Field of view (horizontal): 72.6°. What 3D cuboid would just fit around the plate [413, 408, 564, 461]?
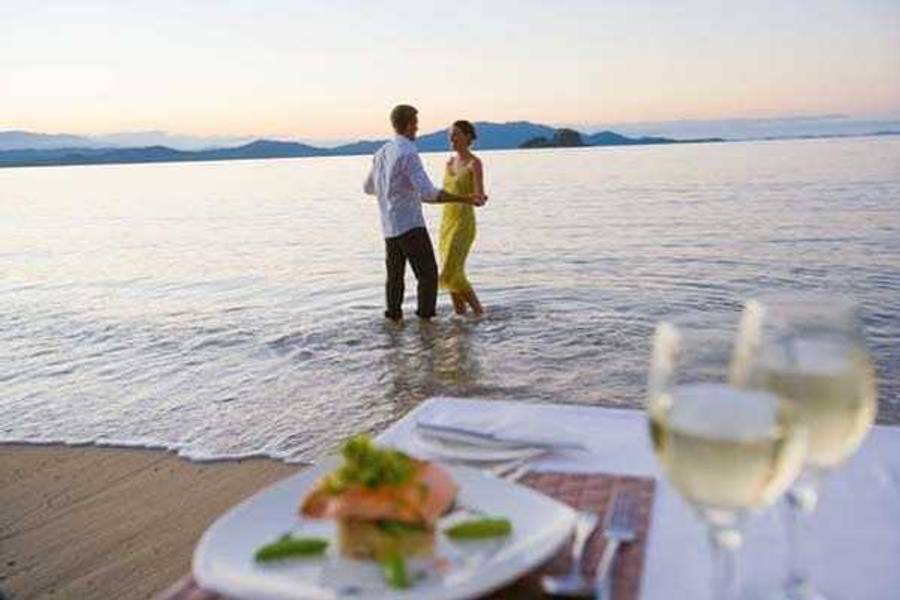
[{"bbox_3d":[0.107,0.330,1.637,0.327,0.091,0.315,0,7,13],"label":"plate"}]

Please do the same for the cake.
[{"bbox_3d":[-0.131,0.386,1.257,0.303,0.155,0.264,1,8,14],"label":"cake"}]

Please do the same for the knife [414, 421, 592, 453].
[{"bbox_3d":[0.114,0.353,1.548,0.176,0.014,0.144,1,0,22],"label":"knife"}]

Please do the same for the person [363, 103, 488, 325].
[{"bbox_3d":[-0.299,-0.859,6.831,1.644,2.179,0.926,0,2,-6],"label":"person"}]
